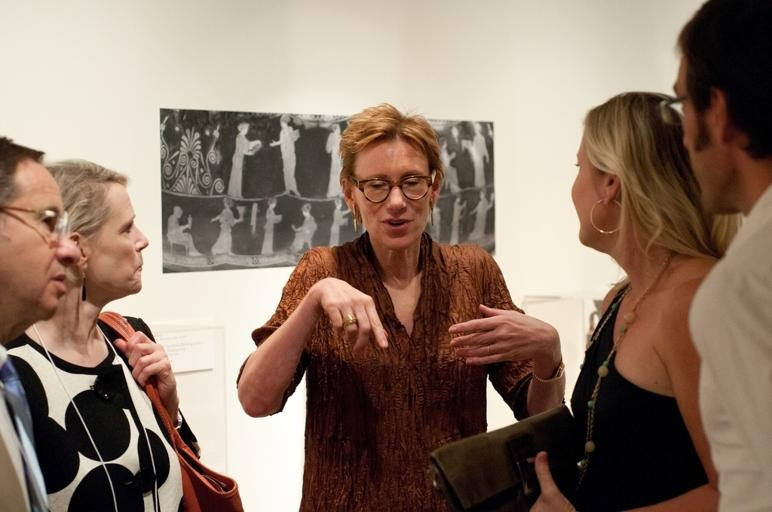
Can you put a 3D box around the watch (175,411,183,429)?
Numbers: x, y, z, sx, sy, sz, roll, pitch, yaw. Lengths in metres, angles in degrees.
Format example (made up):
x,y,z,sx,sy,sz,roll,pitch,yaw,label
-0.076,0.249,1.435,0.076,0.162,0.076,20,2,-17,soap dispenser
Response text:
x,y,z,sx,sy,sz,roll,pitch,yaw,label
-0.908,0.723,2.852,0.019,0.057,0.047,3,2,5,watch

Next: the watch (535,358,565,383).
x,y,z,sx,sy,sz,roll,pitch,yaw,label
0.682,0.469,2.731,0.088,0.075,0.115,33,-52,-29,watch

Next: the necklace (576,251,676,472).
x,y,z,sx,sy,sz,roll,pitch,yaw,label
0.840,0.349,2.509,0.199,0.086,0.990,-33,20,31,necklace

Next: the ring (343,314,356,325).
x,y,z,sx,sy,sz,roll,pitch,yaw,label
-0.131,0.234,2.377,0.034,0.026,0.032,-6,2,0,ring
